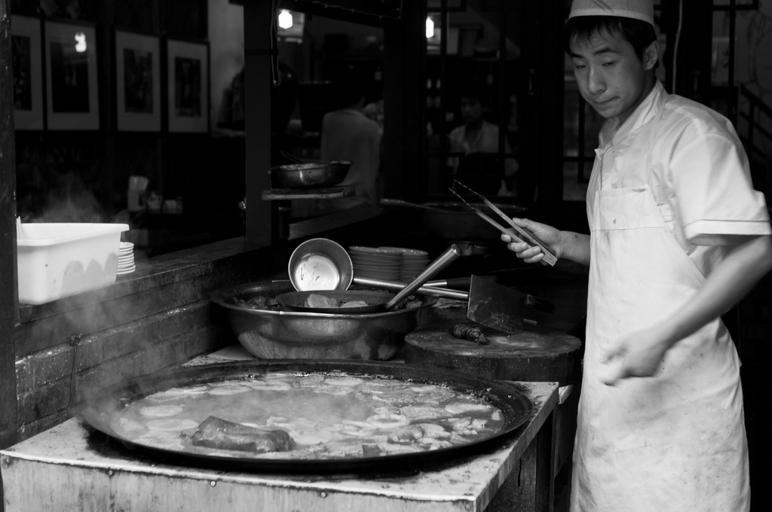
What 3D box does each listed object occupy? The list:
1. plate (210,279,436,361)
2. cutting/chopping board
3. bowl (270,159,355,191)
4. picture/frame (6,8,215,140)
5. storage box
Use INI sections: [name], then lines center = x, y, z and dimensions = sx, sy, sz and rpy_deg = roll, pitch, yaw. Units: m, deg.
[plate]
center = -0.264, 0.247, 3.903
dimensions = 1.112, 0.292, 0.947
rpy_deg = 1, 2, 15
[cutting/chopping board]
center = 0.396, 0.308, 3.595
dimensions = 0.670, 0.171, 0.963
rpy_deg = 7, 14, -3
[bowl]
center = -0.375, -0.384, 4.017
dimensions = 0.419, 0.161, 0.366
rpy_deg = 3, 6, -8
[picture/frame]
center = -1.506, -0.902, 3.950
dimensions = 0.029, 0.634, 1.631
rpy_deg = 2, 6, 23
[storage box]
center = -1.134, 0.025, 2.963
dimensions = 0.376, 0.262, 0.371
rpy_deg = -2, 9, -23
